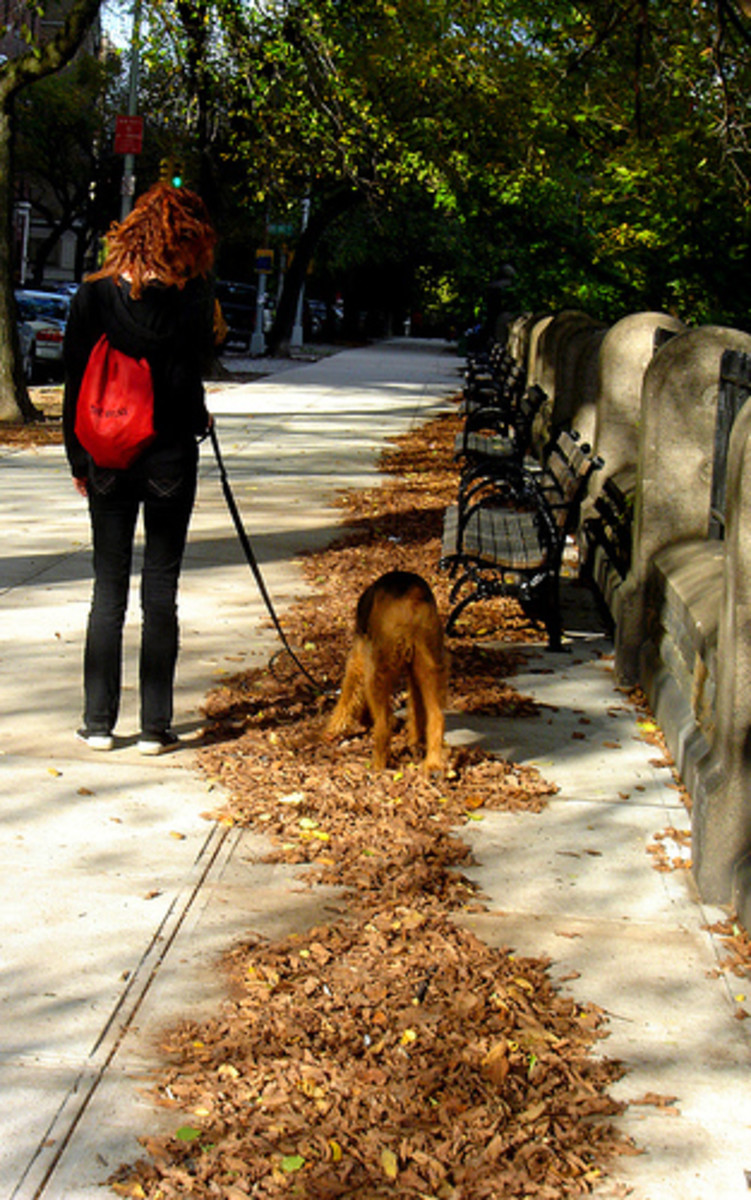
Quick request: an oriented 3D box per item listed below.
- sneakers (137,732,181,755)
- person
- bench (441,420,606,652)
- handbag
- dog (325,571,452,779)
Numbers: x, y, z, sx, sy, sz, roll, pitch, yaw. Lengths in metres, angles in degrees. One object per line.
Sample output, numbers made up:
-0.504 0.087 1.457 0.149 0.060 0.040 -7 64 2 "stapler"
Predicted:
-0.903 0.599 4.009 0.068 0.075 0.184 17 11 24 "sneakers"
-0.917 -0.426 3.707 0.564 2.200 0.387 -1 11 -13 "person"
0.946 -0.452 6.809 0.958 1.071 2.224 0 10 4 "bench"
-0.964 -0.709 3.514 0.302 0.483 0.119 6 12 20 "handbag"
0.090 0.268 3.942 0.408 0.803 0.529 1 11 -4 "dog"
